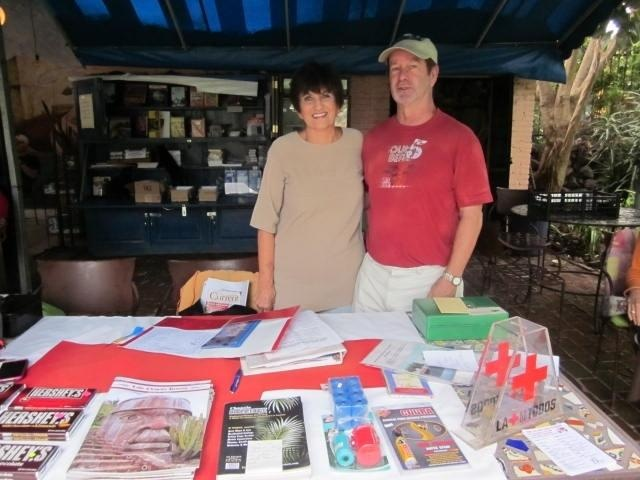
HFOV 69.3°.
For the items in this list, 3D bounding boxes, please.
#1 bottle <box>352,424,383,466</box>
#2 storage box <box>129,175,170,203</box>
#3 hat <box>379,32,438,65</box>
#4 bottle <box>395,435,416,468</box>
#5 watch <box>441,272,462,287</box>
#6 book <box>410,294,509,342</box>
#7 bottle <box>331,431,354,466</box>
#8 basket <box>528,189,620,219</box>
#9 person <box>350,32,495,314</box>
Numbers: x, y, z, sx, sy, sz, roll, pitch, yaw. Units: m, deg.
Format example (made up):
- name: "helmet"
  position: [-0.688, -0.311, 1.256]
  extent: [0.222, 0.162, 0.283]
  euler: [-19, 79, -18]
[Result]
- name: "bottle"
  position: [0.142, 0.626, 1.408]
  extent: [0.111, 0.077, 0.131]
  euler: [9, 8, 2]
- name: "storage box"
  position: [-2.424, -0.710, 6.523]
  extent: [0.428, 0.231, 0.378]
  euler: [0, 2, -7]
- name: "hat"
  position: [0.478, -0.975, 2.350]
  extent: [0.266, 0.084, 0.190]
  euler: [-7, 12, -42]
- name: "bottle"
  position: [0.263, 0.651, 1.414]
  extent: [0.025, 0.085, 0.083]
  euler: [-42, 36, 5]
- name: "watch"
  position: [0.670, 0.191, 2.353]
  extent: [0.112, 0.061, 0.100]
  euler: [11, -3, -2]
- name: "book"
  position: [0.585, 0.322, 2.056]
  extent: [0.308, 0.089, 0.211]
  euler: [-1, 9, -2]
- name: "bottle"
  position: [0.071, 0.641, 1.428]
  extent: [0.065, 0.049, 0.118]
  euler: [0, 12, -4]
- name: "basket"
  position: [2.414, -0.332, 4.385]
  extent: [0.738, 0.247, 0.329]
  euler: [3, 13, 8]
- name: "person"
  position: [0.530, -0.315, 2.370]
  extent: [0.677, 1.432, 0.403]
  euler: [5, 14, 16]
